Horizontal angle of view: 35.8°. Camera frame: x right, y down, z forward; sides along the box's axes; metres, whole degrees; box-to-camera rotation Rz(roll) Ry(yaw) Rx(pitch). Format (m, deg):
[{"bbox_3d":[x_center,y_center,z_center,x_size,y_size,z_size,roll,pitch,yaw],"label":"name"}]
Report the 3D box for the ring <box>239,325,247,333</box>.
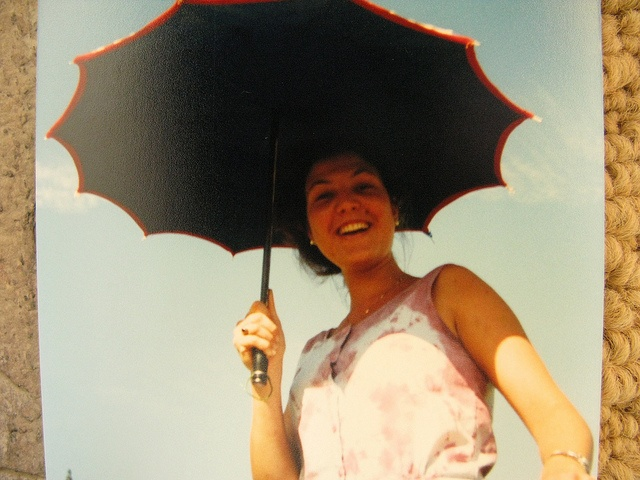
[{"bbox_3d":[-0.238,0.282,3.106,0.012,0.019,0.006,-27,-25,21],"label":"ring"}]
